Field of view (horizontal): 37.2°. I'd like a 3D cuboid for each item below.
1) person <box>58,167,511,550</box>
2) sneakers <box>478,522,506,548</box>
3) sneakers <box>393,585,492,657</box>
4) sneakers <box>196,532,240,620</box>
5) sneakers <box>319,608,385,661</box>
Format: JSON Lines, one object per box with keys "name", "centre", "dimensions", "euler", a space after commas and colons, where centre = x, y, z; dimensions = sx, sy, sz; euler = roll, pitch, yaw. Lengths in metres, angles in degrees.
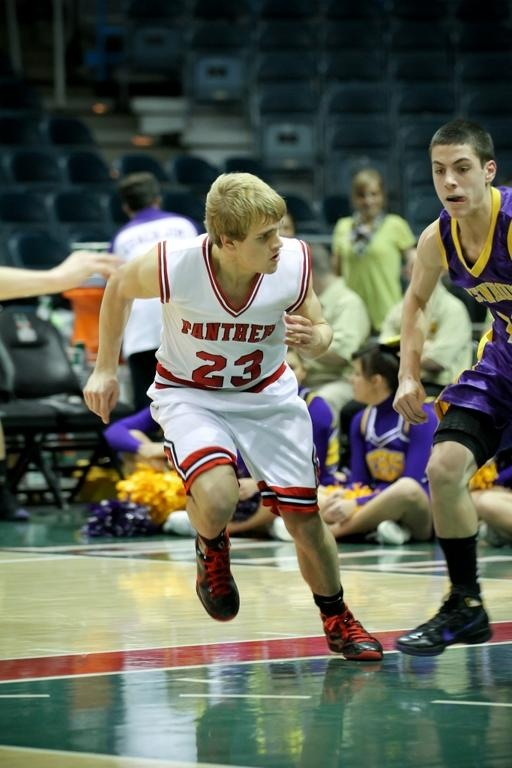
{"name": "person", "centre": [-0.113, -0.059, 1.993], "dimensions": [0.603, 0.904, 0.376], "euler": [-4, -7, 39]}
{"name": "sneakers", "centre": [1.205, 0.761, 3.922], "dimensions": [0.145, 0.131, 0.102], "euler": [-4, 24, 30]}
{"name": "sneakers", "centre": [0.460, 0.584, 1.894], "dimensions": [0.289, 0.139, 0.097], "euler": [-1, -2, -28]}
{"name": "sneakers", "centre": [-0.120, 0.483, 1.963], "dimensions": [0.102, 0.246, 0.101], "euler": [-9, -25, -7]}
{"name": "sneakers", "centre": [0.234, 0.622, 1.883], "dimensions": [0.079, 0.107, 0.187], "euler": [3, -6, -28]}
